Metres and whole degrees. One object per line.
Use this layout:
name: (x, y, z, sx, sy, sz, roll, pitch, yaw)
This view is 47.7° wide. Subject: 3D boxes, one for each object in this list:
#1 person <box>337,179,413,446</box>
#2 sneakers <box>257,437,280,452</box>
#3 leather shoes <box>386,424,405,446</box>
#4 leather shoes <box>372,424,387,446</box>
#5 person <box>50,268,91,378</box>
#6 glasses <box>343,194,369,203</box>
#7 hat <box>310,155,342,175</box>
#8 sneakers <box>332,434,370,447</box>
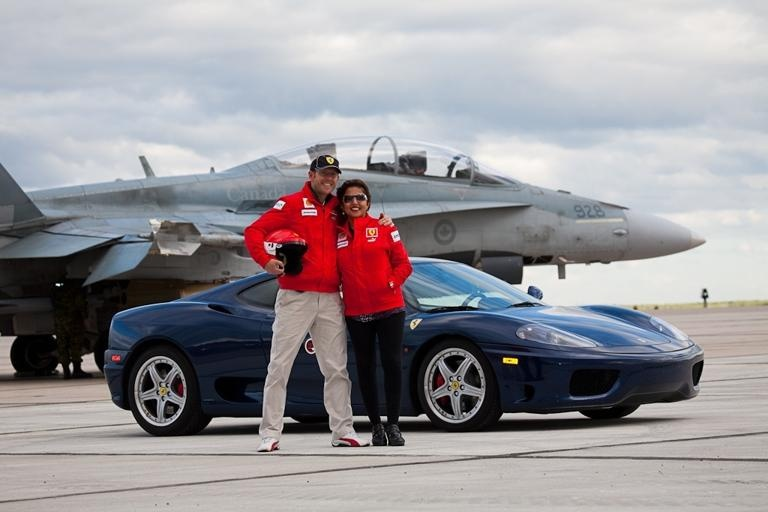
person: (-0.063, 0.496, 7.765, 0.656, 2.359, 0.692, -3, 7, -1)
sneakers: (-1.019, 1.669, 7.687, 0.184, 0.136, 0.294, -2, 5, 0)
leather shoes: (0.103, 1.579, 7.626, 0.153, 0.168, 0.234, -3, 5, -5)
leather shoes: (-0.039, 1.599, 7.705, 0.142, 0.177, 0.221, -3, 5, -3)
person: (-6.110, 1.441, 17.046, 0.654, 1.994, 0.784, -5, 7, -18)
glasses: (-0.244, -0.522, 7.840, 0.221, 0.072, 0.093, -2, 5, -7)
hat: (-0.578, -0.847, 7.968, 0.300, 0.111, 0.216, -10, -10, 43)
sneakers: (-0.305, 1.659, 7.805, 0.375, 0.103, 0.111, -1, -2, 7)
